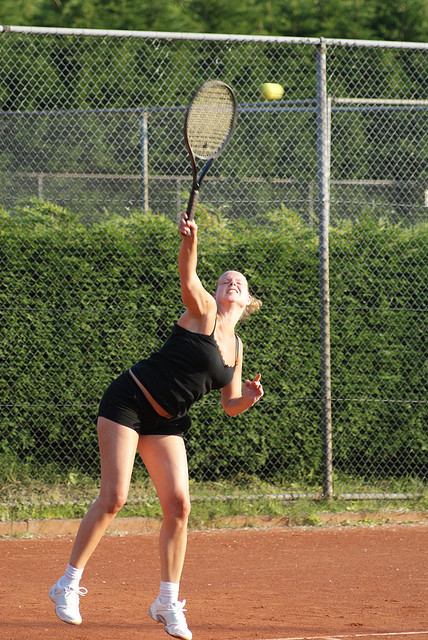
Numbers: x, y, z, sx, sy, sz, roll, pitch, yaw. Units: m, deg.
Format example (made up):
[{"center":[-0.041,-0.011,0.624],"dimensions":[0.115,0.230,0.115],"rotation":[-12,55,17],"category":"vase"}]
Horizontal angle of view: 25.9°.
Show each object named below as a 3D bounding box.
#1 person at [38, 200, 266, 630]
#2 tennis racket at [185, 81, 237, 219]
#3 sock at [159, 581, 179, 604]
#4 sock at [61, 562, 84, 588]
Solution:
[{"center":[-0.435,0.606,5.599],"dimensions":[1.125,1.216,2.063],"rotation":[-22,37,30],"category":"person"},{"center":[-0.023,-0.855,4.699],"dimensions":[0.230,0.831,0.068],"rotation":[16,-11,-27],"category":"tennis racket"},{"center":[-0.202,1.208,4.138],"dimensions":[0.088,0.094,0.096],"rotation":[9,-8,-12],"category":"sock"},{"center":[-0.640,1.139,4.183],"dimensions":[0.093,0.105,0.078],"rotation":[0,7,-25],"category":"sock"}]
